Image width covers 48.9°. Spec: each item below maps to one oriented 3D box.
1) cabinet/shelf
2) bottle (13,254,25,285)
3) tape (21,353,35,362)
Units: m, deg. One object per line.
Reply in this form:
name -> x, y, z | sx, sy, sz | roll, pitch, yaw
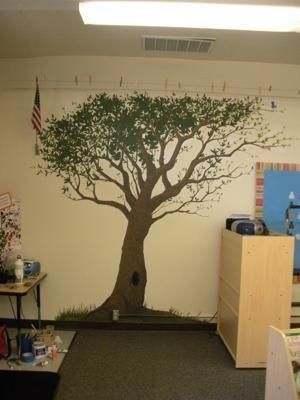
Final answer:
cabinet/shelf -> 0.895, 0.832, 2.794 | 0.286, 1.050, 0.857 | 1, 12, 6
bottle -> -1.215, 0.647, 3.052 | 0.078, 0.260, 0.187 | 2, 0, -23
tape -> -1.037, 1.327, 2.789 | 0.057, 0.051, 0.067 | 2, -3, -14
